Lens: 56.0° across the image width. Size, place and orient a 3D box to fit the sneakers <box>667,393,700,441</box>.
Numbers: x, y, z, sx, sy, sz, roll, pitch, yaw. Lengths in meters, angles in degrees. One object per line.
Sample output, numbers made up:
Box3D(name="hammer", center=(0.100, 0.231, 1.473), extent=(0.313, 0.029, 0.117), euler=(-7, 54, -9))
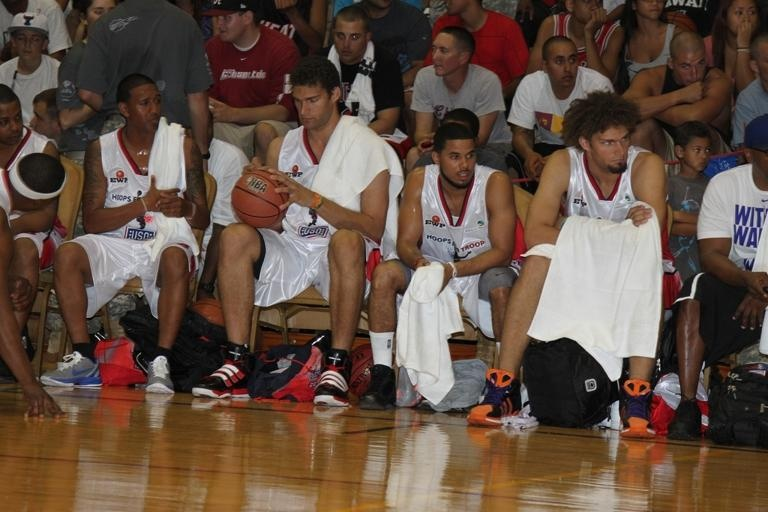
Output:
Box3D(name="sneakers", center=(1.585, 0.846, 3.780), extent=(0.131, 0.215, 0.295), euler=(2, 0, 40))

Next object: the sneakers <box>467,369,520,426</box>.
Box3D(name="sneakers", center=(0.605, 0.753, 3.914), extent=(0.169, 0.264, 0.539), euler=(8, 3, 26))

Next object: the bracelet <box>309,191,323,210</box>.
Box3D(name="bracelet", center=(-0.415, -0.336, 4.444), extent=(0.072, 0.103, 0.043), euler=(24, -24, -19))

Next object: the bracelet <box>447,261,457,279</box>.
Box3D(name="bracelet", center=(0.388, 0.071, 4.219), extent=(0.054, 0.084, 0.080), euler=(-22, 46, -13))

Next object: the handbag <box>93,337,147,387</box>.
Box3D(name="handbag", center=(-1.666, 0.643, 4.553), extent=(0.285, 0.288, 0.161), euler=(-15, 0, 33))

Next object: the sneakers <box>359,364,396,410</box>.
Box3D(name="sneakers", center=(-0.027, 0.748, 4.182), extent=(0.191, 0.257, 0.227), euler=(2, 0, 7))

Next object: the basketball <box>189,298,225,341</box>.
Box3D(name="basketball", center=(-1.106, 0.393, 4.587), extent=(0.217, 0.189, 0.254), euler=(4, -18, 11))

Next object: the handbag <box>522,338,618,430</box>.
Box3D(name="handbag", center=(1.027, 0.684, 4.006), extent=(0.450, 0.469, 0.349), euler=(-4, -4, -38))

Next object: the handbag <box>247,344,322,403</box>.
Box3D(name="handbag", center=(-0.591, 0.696, 4.368), extent=(0.437, 0.343, 0.215), euler=(2, 0, -8))

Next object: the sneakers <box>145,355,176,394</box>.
Box3D(name="sneakers", center=(-1.339, 0.703, 4.331), extent=(0.159, 0.222, 0.266), euler=(2, 0, -18))

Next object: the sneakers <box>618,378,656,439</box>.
Box3D(name="sneakers", center=(1.324, 0.779, 3.765), extent=(0.166, 0.297, 0.252), euler=(2, 0, 18))

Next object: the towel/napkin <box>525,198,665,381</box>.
Box3D(name="towel/napkin", center=(1.183, 0.203, 3.897), extent=(0.783, 0.882, 0.216), euler=(6, -10, 13))

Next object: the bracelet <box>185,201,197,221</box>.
Box3D(name="bracelet", center=(-1.257, -0.302, 4.746), extent=(0.044, 0.095, 0.074), euler=(2, -9, 29))

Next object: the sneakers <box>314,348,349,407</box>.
Box3D(name="sneakers", center=(-0.301, 0.691, 4.267), extent=(0.177, 0.247, 0.488), euler=(6, 13, -1))

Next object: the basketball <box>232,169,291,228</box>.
Box3D(name="basketball", center=(-0.720, -0.344, 4.534), extent=(0.336, 0.396, 0.329), euler=(1, -2, 24))

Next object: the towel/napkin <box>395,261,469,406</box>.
Box3D(name="towel/napkin", center=(0.264, 0.406, 4.157), extent=(0.348, 0.665, 0.274), euler=(3, 12, 5))
